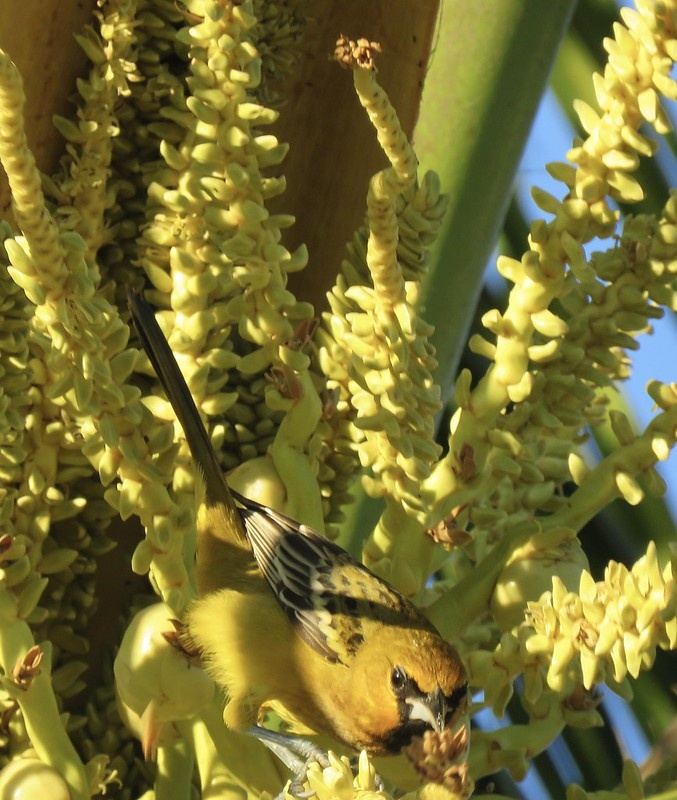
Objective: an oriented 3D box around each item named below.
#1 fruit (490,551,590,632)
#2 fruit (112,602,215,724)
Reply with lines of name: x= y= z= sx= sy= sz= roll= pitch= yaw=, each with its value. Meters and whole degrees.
fruit: x=0.134 y=0.123 z=0.777 sx=0.061 sy=0.039 sz=0.046 roll=-26 pitch=0 yaw=-25
fruit: x=-0.113 y=0.156 z=0.721 sx=0.062 sy=0.076 sz=0.045 roll=11 pitch=-2 yaw=-10
